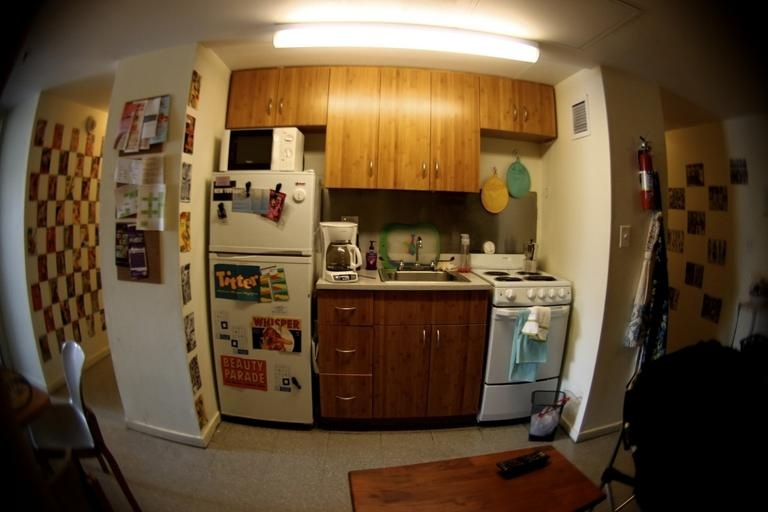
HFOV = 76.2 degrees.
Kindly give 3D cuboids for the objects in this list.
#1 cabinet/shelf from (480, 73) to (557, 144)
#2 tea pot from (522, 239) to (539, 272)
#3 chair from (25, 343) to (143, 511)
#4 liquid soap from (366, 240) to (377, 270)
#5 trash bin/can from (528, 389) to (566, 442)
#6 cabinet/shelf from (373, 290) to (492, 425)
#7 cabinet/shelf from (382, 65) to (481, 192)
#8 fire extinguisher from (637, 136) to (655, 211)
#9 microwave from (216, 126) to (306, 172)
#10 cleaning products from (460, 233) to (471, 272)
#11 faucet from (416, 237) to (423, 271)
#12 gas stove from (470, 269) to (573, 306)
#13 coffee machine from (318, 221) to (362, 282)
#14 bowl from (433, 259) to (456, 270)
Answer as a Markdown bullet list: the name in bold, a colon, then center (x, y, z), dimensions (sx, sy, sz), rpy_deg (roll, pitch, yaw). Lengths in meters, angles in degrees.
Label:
- **cabinet/shelf**: center (0.813, -1.012, 3.305), dimensions (0.205, 0.427, 0.667), rpy_deg (3, 17, 28)
- **tea pot**: center (0.965, 0.011, 3.213), dimensions (0.075, 0.188, 0.072), rpy_deg (1, 3, 0)
- **chair**: center (-0.931, 0.572, 1.515), dimensions (0.167, 0.592, 0.321), rpy_deg (2, 3, 17)
- **liquid soap**: center (-0.074, -0.009, 3.244), dimensions (0.070, 0.185, 0.188), rpy_deg (1, 3, -2)
- **trash bin/can**: center (0.960, 0.923, 2.870), dimensions (0.191, 0.264, 0.274), rpy_deg (2, 3, 18)
- **cabinet/shelf**: center (0.298, 0.680, 3.015), dimensions (0.632, 0.793, 0.418), rpy_deg (-2, -30, 15)
- **cabinet/shelf**: center (0.260, -0.771, 3.114), dimensions (0.663, 0.708, 0.257), rpy_deg (-3, 8, -17)
- **fire extinguisher**: center (1.369, -0.436, 2.540), dimensions (0.088, 0.383, 0.184), rpy_deg (2, 3, 19)
- **microwave**: center (-0.698, -0.623, 2.847), dimensions (0.372, 0.236, 0.270), rpy_deg (1, 1, -4)
- **cleaning products**: center (0.547, -0.023, 3.287), dimensions (0.072, 0.244, 0.240), rpy_deg (2, 3, 9)
- **faucet**: center (0.244, -0.037, 3.354), dimensions (0.029, 0.194, 0.053), rpy_deg (4, 3, 44)
- **gas stove**: center (0.861, 0.199, 3.043), dimensions (0.494, 0.166, 0.403), rpy_deg (1, 4, -10)
- **coffee machine**: center (-0.247, -0.028, 2.890), dimensions (0.240, 0.336, 0.238), rpy_deg (1, 3, -7)
- **bowl**: center (0.418, 0.054, 3.297), dimensions (0.137, 0.067, 0.208), rpy_deg (2, 4, 8)
